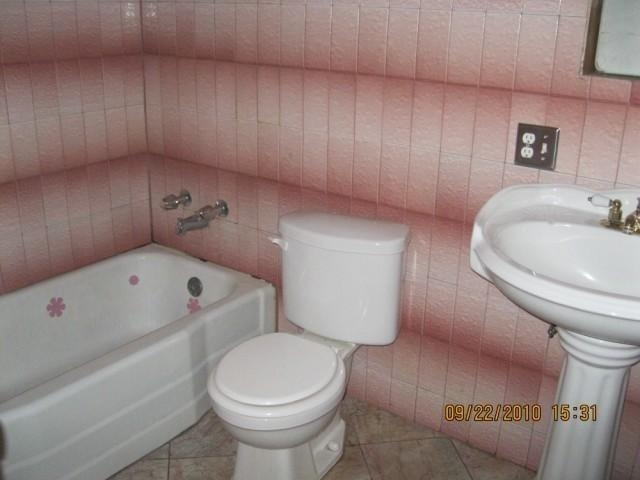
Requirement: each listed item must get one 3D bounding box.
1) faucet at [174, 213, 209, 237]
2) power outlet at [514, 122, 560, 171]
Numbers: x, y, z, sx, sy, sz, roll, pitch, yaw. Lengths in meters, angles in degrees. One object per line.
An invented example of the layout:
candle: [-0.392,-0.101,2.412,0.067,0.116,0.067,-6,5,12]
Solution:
faucet: [-0.612,-0.058,2.295,0.091,0.060,0.141,26,30,26]
power outlet: [0.735,-0.315,1.628,0.137,0.146,0.031,9,18,17]
